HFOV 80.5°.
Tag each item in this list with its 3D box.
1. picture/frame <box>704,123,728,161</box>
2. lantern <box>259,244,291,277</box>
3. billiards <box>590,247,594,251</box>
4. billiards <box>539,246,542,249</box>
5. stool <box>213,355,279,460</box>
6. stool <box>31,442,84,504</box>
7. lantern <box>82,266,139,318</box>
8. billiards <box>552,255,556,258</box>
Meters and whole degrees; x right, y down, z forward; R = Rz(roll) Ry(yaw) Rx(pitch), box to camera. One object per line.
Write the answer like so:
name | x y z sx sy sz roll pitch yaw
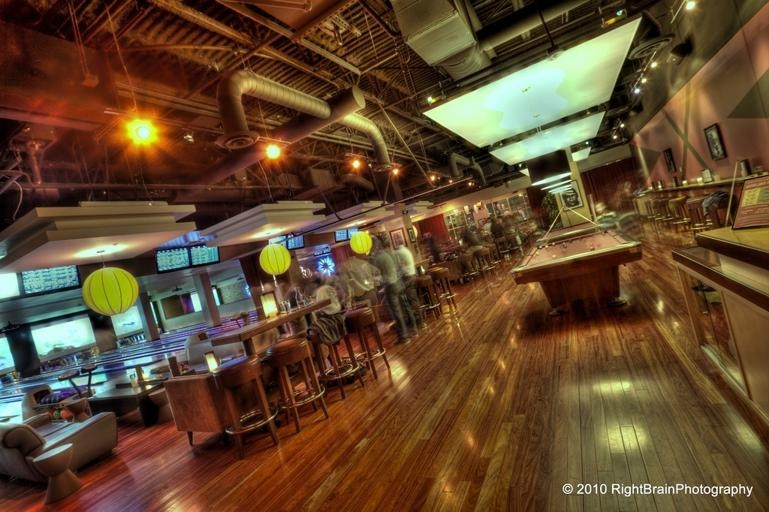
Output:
picture/frame | 7.513 -2.571 10.327 0.135 0.834 0.777 -18 -1 22
lantern | -2.284 0.085 9.005 0.684 0.638 0.645 -2 -6 0
billiards | 3.455 -0.123 7.571 0.064 0.058 0.063 -29 16 -30
billiards | 3.220 -0.186 9.378 0.031 0.034 0.124 -20 1 11
stool | -2.043 2.108 6.637 0.716 1.420 0.984 -17 0 -20
stool | -4.766 3.134 6.581 0.591 0.638 0.637 -15 13 41
lantern | -4.462 0.540 7.270 0.838 0.820 0.825 -11 -4 27
billiards | 2.884 0.003 7.754 0.064 0.034 0.062 0 5 24
